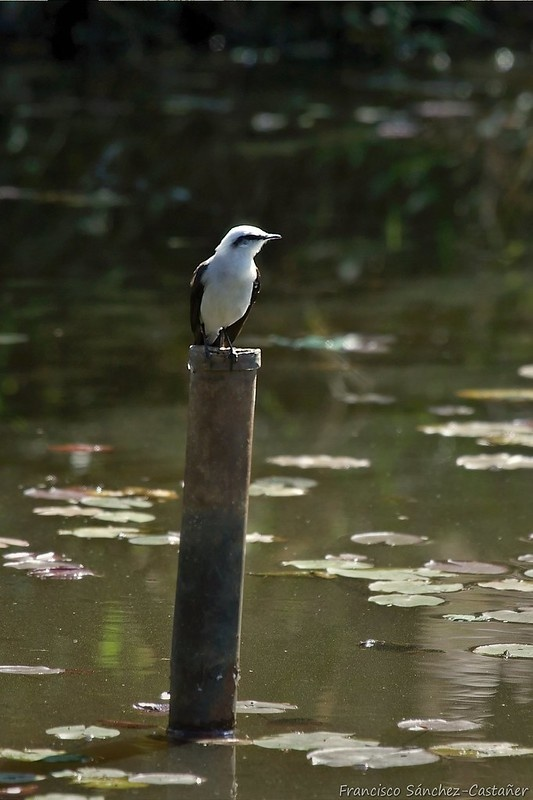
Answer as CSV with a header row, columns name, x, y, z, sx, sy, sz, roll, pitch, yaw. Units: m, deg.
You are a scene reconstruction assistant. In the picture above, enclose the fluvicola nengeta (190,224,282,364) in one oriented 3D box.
name,x,y,z,sx,sy,sz,roll,pitch,yaw
fluvicola nengeta,-0.153,-0.448,4.084,0.308,0.498,0.502,1,9,-5
